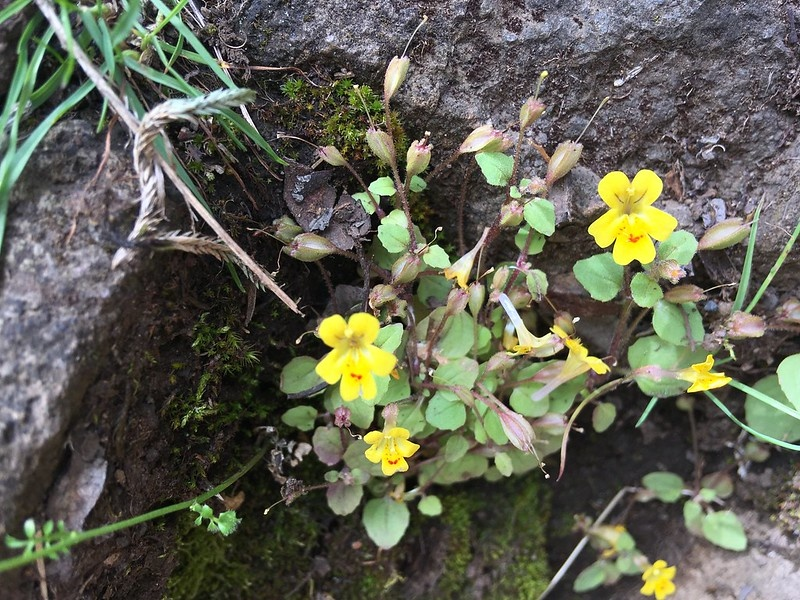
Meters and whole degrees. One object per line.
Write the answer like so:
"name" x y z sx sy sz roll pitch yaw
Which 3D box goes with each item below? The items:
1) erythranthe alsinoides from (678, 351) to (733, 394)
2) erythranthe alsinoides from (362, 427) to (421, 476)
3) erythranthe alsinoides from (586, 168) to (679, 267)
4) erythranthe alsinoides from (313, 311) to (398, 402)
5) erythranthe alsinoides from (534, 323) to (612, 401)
"erythranthe alsinoides" 1.234 0.290 2.691 0.185 0.181 0.075 12 21 -1
"erythranthe alsinoides" -0.007 0.589 2.617 0.199 0.229 0.113 12 45 -32
"erythranthe alsinoides" 0.876 -0.305 2.459 0.322 0.358 0.140 -1 6 10
"erythranthe alsinoides" -0.163 0.190 2.317 0.267 0.321 0.092 -3 14 5
"erythranthe alsinoides" 0.755 0.268 2.840 0.185 0.264 0.181 30 50 -14
